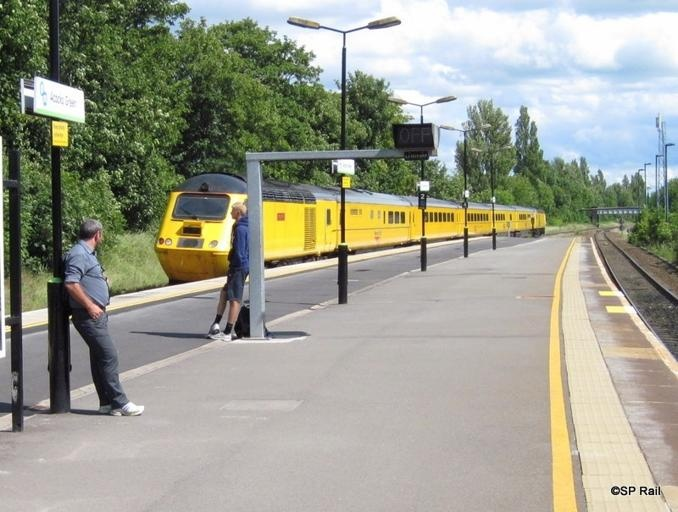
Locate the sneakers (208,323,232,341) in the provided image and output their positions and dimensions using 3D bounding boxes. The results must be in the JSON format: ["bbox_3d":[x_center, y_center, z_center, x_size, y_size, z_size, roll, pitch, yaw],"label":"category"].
[{"bbox_3d":[-2.047,1.306,12.821,0.493,0.287,0.266,2,5,24],"label":"sneakers"}]

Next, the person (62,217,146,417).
[{"bbox_3d":[-2.694,0.697,8.407,0.793,2.202,0.572,-1,4,-11],"label":"person"}]

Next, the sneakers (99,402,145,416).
[{"bbox_3d":[-2.472,1.728,8.357,0.540,0.159,0.179,0,5,6],"label":"sneakers"}]

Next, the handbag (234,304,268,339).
[{"bbox_3d":[-1.534,1.113,12.833,0.408,0.632,0.579,-3,-5,3],"label":"handbag"}]
